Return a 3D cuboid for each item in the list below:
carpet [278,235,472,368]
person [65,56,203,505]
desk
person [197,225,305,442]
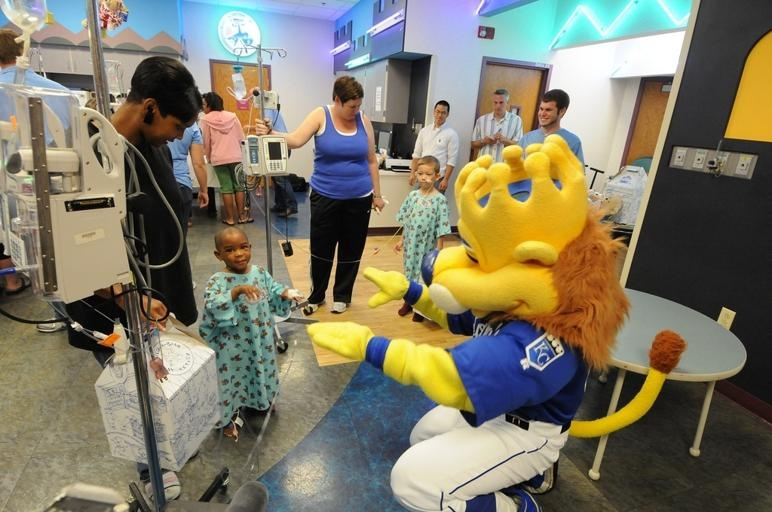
[{"bbox_3d":[-0.183,0.556,4.244,1.028,0.364,1.479,-4,39,-11],"label":"carpet"},{"bbox_3d":[-1.160,0.143,2.451,0.658,2.086,0.621,-12,23,-35],"label":"person"},{"bbox_3d":[1.686,0.746,3.236,1.062,0.639,1.059,13,40,18],"label":"desk"},{"bbox_3d":[-0.760,0.419,2.859,0.548,1.070,0.494,5,16,20],"label":"person"}]
